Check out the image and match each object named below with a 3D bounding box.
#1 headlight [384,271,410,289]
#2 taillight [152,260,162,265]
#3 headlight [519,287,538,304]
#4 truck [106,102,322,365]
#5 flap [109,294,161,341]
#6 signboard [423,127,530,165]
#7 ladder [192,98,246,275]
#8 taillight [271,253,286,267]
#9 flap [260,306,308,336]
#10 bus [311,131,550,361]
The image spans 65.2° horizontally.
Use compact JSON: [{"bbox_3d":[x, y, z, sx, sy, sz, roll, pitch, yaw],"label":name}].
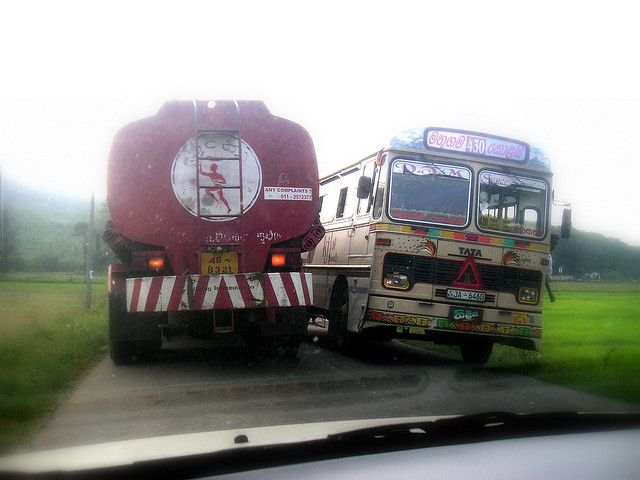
[{"bbox_3d":[1.261,0.663,8.168,0.321,0.282,0.126,4,-3,-1],"label":"headlight"},{"bbox_3d":[-2.323,0.319,7.138,0.130,0.067,0.025,2,-4,7],"label":"taillight"},{"bbox_3d":[3.562,0.951,8.506,0.373,0.272,0.053,4,-4,-22],"label":"headlight"},{"bbox_3d":[-1.782,-0.683,9.716,2.871,3.695,5.387,-1,10,-8],"label":"truck"},{"bbox_3d":[-2.644,1.093,7.199,0.629,0.696,0.354,0,1,-6],"label":"flap"},{"bbox_3d":[2.653,-1.597,8.673,2.054,0.590,0.290,9,-12,6],"label":"signboard"},{"bbox_3d":[-1.455,-0.736,7.255,0.662,3.131,0.202,0,-31,-13],"label":"ladder"},{"bbox_3d":[-0.631,0.324,7.614,0.266,0.299,0.157,0,-4,-9],"label":"taillight"},{"bbox_3d":[-0.447,1.226,7.498,0.489,0.359,0.494,4,-10,-37],"label":"flap"},{"bbox_3d":[2.104,0.228,9.258,3.991,4.090,2.584,1,-4,13],"label":"bus"}]
